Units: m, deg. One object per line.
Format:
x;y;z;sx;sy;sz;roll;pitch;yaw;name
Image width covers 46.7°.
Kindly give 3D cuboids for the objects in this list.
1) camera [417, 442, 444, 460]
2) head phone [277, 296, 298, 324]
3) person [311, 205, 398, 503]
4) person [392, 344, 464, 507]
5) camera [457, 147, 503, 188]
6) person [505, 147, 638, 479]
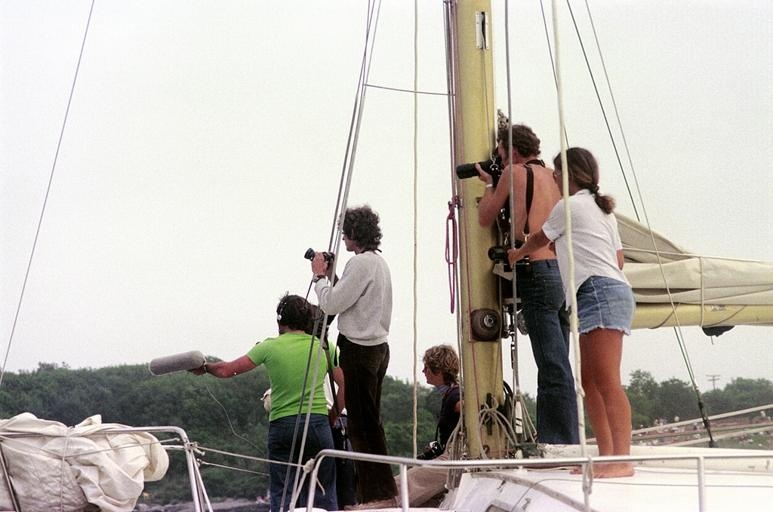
0.702;2.952;13.606;0.371;0.257;0.228;-3;-17;3;camera
-1.401;0.753;13.033;0.228;0.371;0.355;10;16;0;head phone
-0.359;1.343;12.604;0.838;4.083;1.356;-14;-20;40;person
0.762;2.533;13.632;0.730;2.430;1.574;5;-17;-20;person
1.302;-1.207;12.537;0.589;0.274;0.411;-20;-39;8;camera
2.716;0.704;11.837;1.335;4.262;0.849;7;-17;-27;person
